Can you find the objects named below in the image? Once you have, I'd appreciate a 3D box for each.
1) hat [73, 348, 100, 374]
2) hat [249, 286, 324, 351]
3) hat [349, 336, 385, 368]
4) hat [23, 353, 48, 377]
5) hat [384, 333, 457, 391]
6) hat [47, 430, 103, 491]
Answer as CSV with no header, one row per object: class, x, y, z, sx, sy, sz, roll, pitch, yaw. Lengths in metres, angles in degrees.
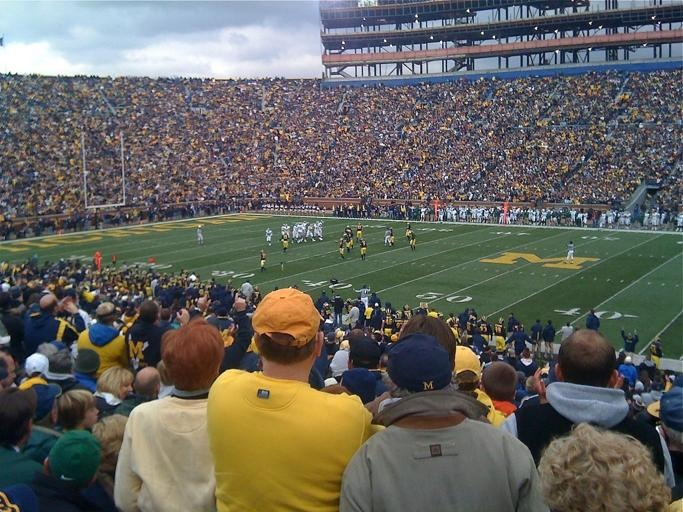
hat,-2.319,0.969,6.607,0.211,0.251,0.164,-4,9,-19
hat,-0.336,0.321,4.360,0.422,0.230,0.595,2,17,3
hat,0.203,0.890,6.396,0.262,0.302,0.335,-1,9,0
hat,-2.643,0.971,6.287,0.174,0.207,0.298,-5,10,-29
hat,0.433,0.573,4.108,0.378,0.277,0.551,-9,4,1
hat,-1.667,1.255,4.539,0.239,0.196,0.357,23,24,-19
